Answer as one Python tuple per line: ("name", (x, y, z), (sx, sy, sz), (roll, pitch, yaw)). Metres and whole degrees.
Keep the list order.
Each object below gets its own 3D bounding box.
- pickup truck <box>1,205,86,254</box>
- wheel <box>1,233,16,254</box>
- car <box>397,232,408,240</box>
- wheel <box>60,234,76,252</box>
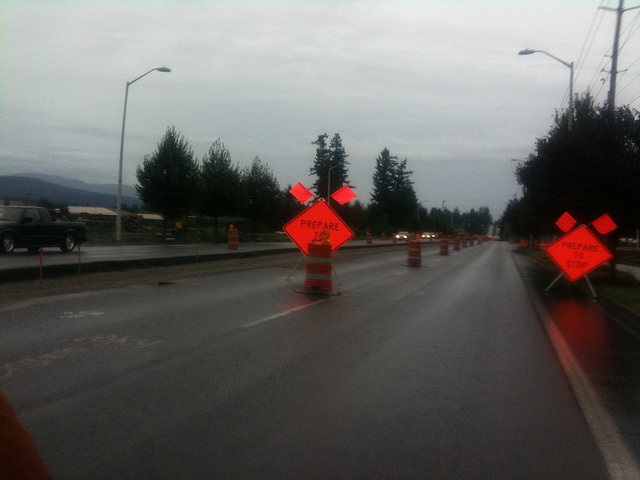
("pickup truck", (-11.401, -0.464, 20.527), (1.857, 1.598, 3.523), (-4, -4, 37))
("wheel", (-11.904, 0.045, 19.149), (0.237, 0.711, 0.667), (-1, -7, 16))
("car", (12.701, -0.900, 79.075), (1.099, 0.933, 2.582), (2, 9, 23))
("wheel", (-10.723, 0.029, 21.306), (0.219, 0.652, 0.613), (0, -9, 15))
